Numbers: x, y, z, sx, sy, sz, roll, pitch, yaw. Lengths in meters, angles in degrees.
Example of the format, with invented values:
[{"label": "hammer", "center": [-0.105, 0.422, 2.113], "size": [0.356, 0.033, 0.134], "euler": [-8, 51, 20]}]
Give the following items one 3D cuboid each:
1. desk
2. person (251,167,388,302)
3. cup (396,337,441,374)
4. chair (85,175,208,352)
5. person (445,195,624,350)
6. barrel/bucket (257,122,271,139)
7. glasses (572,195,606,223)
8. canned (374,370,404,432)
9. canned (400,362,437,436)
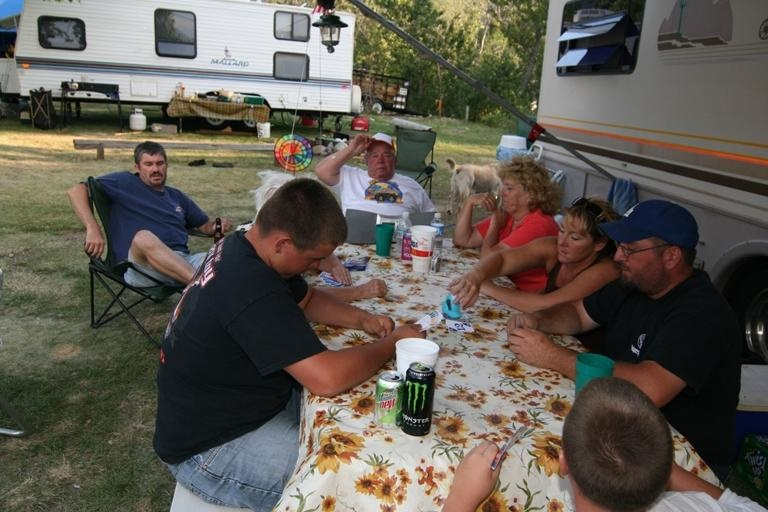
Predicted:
[{"label": "desk", "center": [-4.052, -3.562, 13.243], "size": [1.685, 0.469, 0.923], "euler": [4, 11, -15]}, {"label": "person", "center": [-0.428, 0.042, 3.520], "size": [0.909, 1.199, 0.501], "euler": [-8, 16, -32]}, {"label": "cup", "center": [0.144, 0.422, 2.340], "size": [0.145, 0.128, 0.165], "euler": [1, 8, -1]}, {"label": "chair", "center": [-2.146, 0.062, 4.821], "size": [1.000, 1.256, 0.883], "euler": [16, 11, 29]}, {"label": "person", "center": [0.932, -0.030, 3.596], "size": [1.085, 1.163, 0.640], "euler": [2, 38, -7]}, {"label": "barrel/bucket", "center": [-3.089, -3.237, 13.920], "size": [0.456, 0.491, 0.455], "euler": [0, 7, 0]}, {"label": "glasses", "center": [1.332, -0.312, 3.461], "size": [0.161, 0.191, 0.062], "euler": [15, 46, 32]}, {"label": "canned", "center": [0.020, 0.605, 2.244], "size": [0.118, 0.214, 0.101], "euler": [2, 15, 0]}, {"label": "canned", "center": [0.139, 0.596, 2.217], "size": [0.125, 0.281, 0.115], "euler": [5, 16, 12]}]
